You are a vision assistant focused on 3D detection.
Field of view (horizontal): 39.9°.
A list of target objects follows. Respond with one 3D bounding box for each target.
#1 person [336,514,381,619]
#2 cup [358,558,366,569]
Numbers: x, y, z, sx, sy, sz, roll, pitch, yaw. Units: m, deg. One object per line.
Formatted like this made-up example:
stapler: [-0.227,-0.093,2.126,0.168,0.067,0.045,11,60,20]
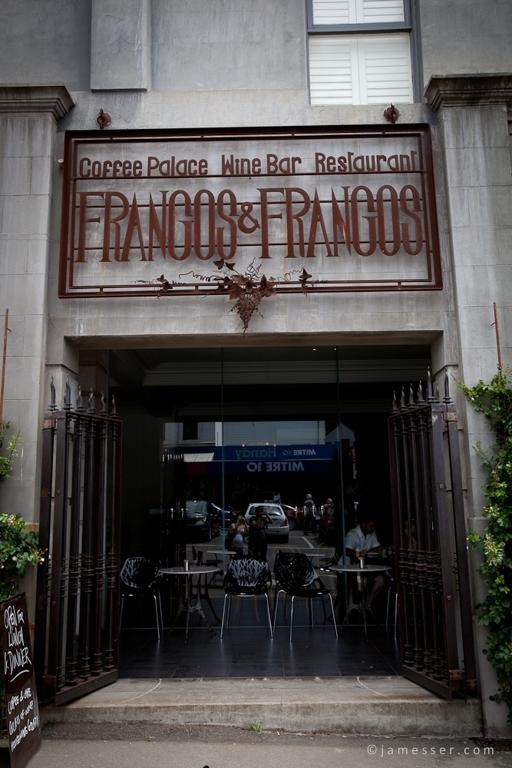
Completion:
person: [1.401,2.391,9.366,0.415,1.329,0.557,-1,3,-12]
cup: [1.213,2.059,8.146,0.073,0.158,0.076,0,0,0]
